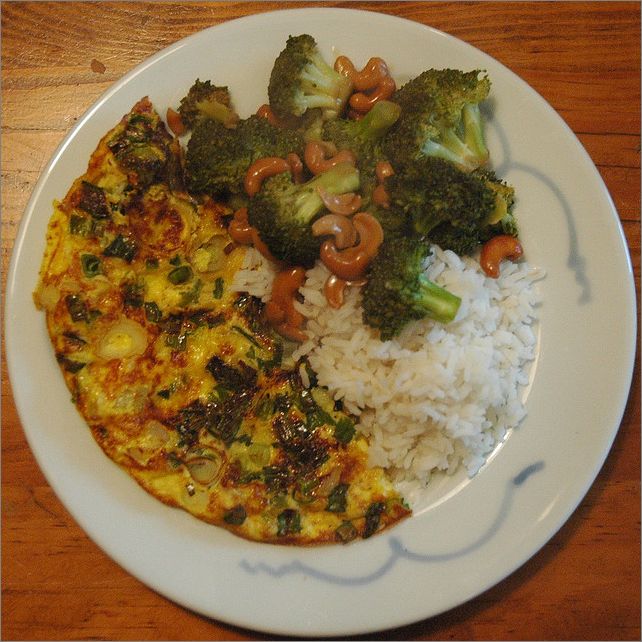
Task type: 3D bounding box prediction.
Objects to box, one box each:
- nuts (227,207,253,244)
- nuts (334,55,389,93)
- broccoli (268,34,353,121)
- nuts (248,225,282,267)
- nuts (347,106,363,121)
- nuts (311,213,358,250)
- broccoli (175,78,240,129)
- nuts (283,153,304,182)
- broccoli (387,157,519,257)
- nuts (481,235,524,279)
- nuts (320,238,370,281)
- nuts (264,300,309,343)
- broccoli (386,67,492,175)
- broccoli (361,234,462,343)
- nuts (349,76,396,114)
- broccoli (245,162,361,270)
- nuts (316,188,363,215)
[{"bbox_3d":[-0.428,-0.508,3.876,0.160,0.063,0.156,1,95,2],"label":"nuts"},{"bbox_3d":[0.204,-1.298,3.948,0.254,0.176,0.177,-14,118,-24],"label":"nuts"},{"bbox_3d":[-0.034,-1.231,4.008,0.430,0.437,0.426,-1,86,4],"label":"broccoli"},{"bbox_3d":[-0.306,-0.396,3.898,0.168,0.180,0.122,39,97,-9],"label":"nuts"},{"bbox_3d":[0.170,-1.117,4.023,0.070,0.069,0.034,11,69,8],"label":"nuts"},{"bbox_3d":[0.075,-0.464,3.803,0.225,0.123,0.161,29,86,1],"label":"nuts"},{"bbox_3d":[-0.593,-1.146,3.930,0.275,0.072,0.269,-22,88,2],"label":"broccoli"},{"bbox_3d":[-0.131,-0.801,3.861,0.074,0.074,0.148,-15,96,24],"label":"nuts"},{"bbox_3d":[0.669,-0.661,3.887,0.579,0.593,0.459,18,117,31],"label":"broccoli"},{"bbox_3d":[0.939,-0.374,3.979,0.285,0.095,0.209,-24,68,-39],"label":"nuts"},{"bbox_3d":[0.122,-0.318,3.807,0.245,0.148,0.188,19,128,28],"label":"nuts"},{"bbox_3d":[-0.184,0.000,3.993,0.229,0.090,0.175,44,91,1],"label":"nuts"},{"bbox_3d":[0.653,-1.011,3.947,0.540,0.317,0.531,27,95,16],"label":"broccoli"},{"bbox_3d":[0.413,-0.192,3.711,0.486,0.197,0.493,-16,86,-2],"label":"broccoli"},{"bbox_3d":[0.267,-1.188,3.999,0.261,0.081,0.144,-32,90,4],"label":"nuts"},{"bbox_3d":[-0.075,-0.552,3.801,0.595,0.162,0.427,-13,86,-2],"label":"broccoli"},{"bbox_3d":[0.088,-0.607,3.795,0.192,0.064,0.119,21,76,-19],"label":"nuts"}]
